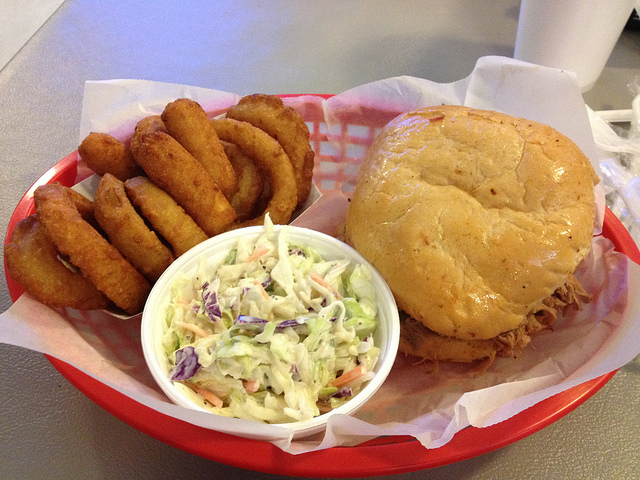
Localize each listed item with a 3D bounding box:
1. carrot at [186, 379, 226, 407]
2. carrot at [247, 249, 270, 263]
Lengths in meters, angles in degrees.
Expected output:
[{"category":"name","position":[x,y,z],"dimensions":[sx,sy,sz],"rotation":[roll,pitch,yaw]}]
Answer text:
[{"category":"carrot","position":[-0.410,0.542,1.874],"dimensions":[0.124,0.025,0.030],"rotation":[36,52,12]},{"category":"carrot","position":[-0.249,0.064,2.114],"dimensions":[0.107,0.030,0.029],"rotation":[-28,82,-20]}]
